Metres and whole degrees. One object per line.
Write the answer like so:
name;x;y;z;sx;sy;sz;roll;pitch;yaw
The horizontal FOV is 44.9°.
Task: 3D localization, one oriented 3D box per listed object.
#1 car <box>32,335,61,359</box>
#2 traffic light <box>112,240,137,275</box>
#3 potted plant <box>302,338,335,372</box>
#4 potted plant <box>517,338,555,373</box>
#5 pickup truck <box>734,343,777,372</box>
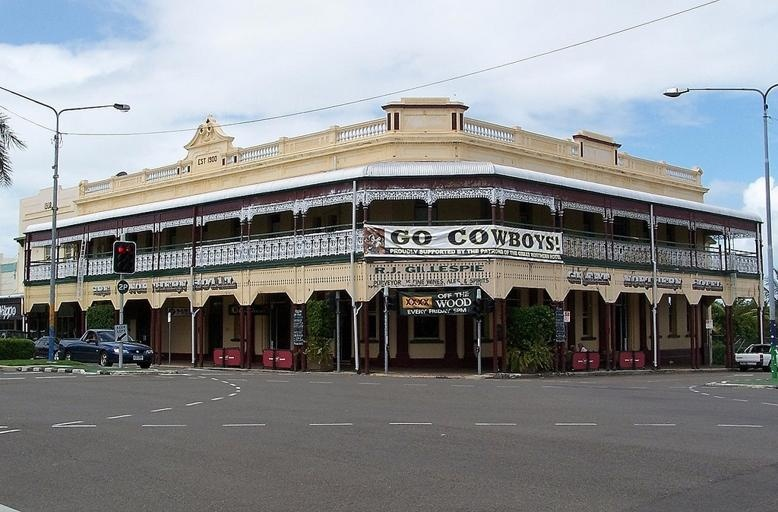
car;-16.554;4.402;45.582;2.150;0.707;0.986;-11;-12;40
traffic light;-10.738;-0.012;38.216;0.848;1.330;0.897;4;-12;-19
potted plant;-2.923;4.265;40.935;1.353;1.729;1.600;-1;-1;15
potted plant;6.173;4.157;39.431;1.403;1.387;1.428;-7;-8;37
pickup truck;18.229;5.094;47.097;2.690;1.358;1.468;1;-4;14
